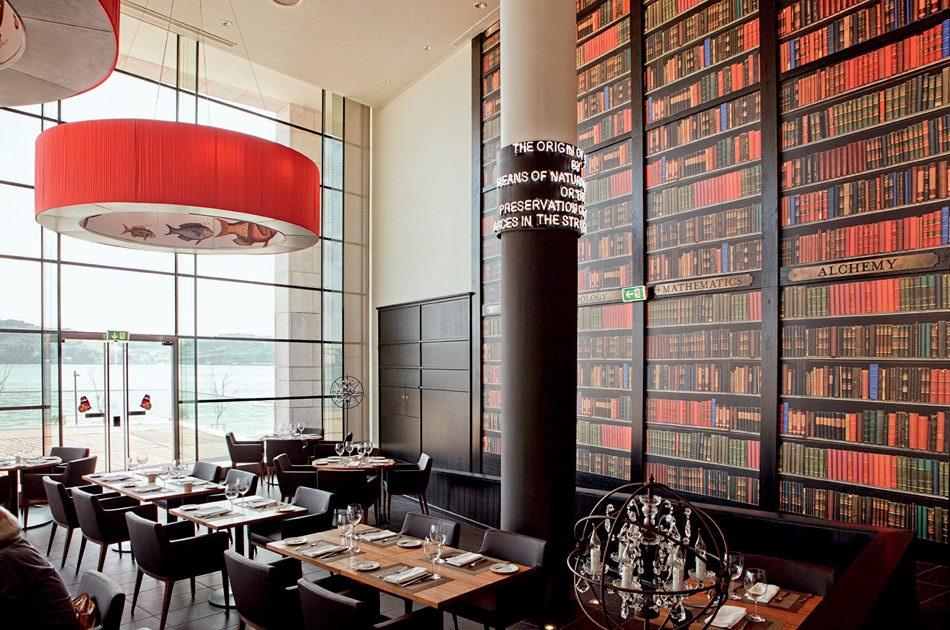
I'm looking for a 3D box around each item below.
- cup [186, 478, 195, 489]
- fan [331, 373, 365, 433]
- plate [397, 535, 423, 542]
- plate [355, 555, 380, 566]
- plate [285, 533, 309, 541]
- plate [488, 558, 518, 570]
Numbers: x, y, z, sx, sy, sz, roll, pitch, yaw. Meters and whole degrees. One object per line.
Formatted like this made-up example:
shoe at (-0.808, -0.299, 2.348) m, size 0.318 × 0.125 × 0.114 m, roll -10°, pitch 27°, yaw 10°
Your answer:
cup at (-3.416, 2.040, 8.267) m, size 0.090 × 0.079 × 0.080 m, roll -1°, pitch -6°, yaw 6°
fan at (-2.591, 1.805, 14.108) m, size 0.768 × 1.206 × 0.207 m, roll 4°, pitch -7°, yaw -43°
plate at (-0.602, 2.106, 6.433) m, size 0.231 × 0.042 × 0.139 m, roll -2°, pitch -5°, yaw 12°
plate at (-0.918, 2.150, 5.965) m, size 0.209 × 0.047 × 0.167 m, roll 0°, pitch -5°, yaw -8°
plate at (-1.657, 2.100, 6.469) m, size 0.196 × 0.034 × 0.219 m, roll 1°, pitch -5°, yaw -23°
plate at (0.255, 2.163, 5.962) m, size 0.247 × 0.046 × 0.177 m, roll -3°, pitch -5°, yaw 26°
